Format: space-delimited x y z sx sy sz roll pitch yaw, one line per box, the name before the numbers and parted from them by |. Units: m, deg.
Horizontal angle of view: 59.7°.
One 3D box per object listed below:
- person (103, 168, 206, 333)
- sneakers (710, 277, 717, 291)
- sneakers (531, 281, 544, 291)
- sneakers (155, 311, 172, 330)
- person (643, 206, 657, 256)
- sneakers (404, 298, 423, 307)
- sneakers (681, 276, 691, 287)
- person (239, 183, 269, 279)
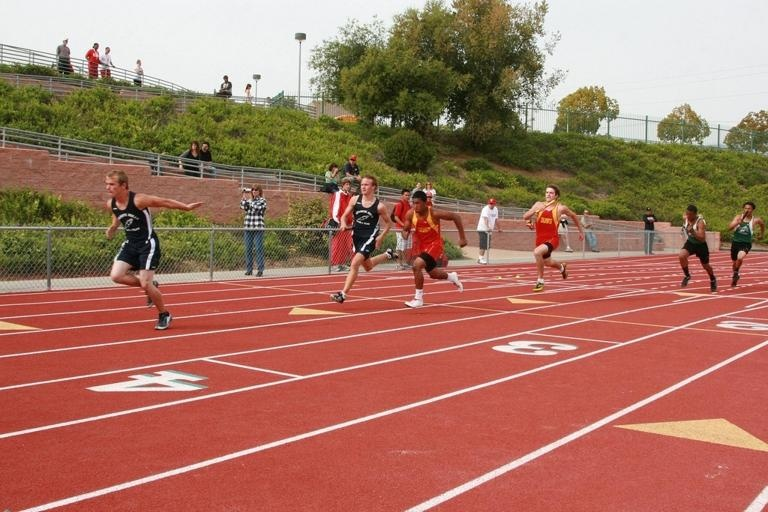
person | -3.665 -0.077 10.018 1.157 2.376 0.906 5 7 33
sneakers | 8.259 0.689 16.795 0.135 0.327 0.111 -4 12 2
sneakers | 3.472 0.656 14.833 0.165 0.172 0.421 -6 1 40
sneakers | -3.359 0.970 10.225 0.163 0.200 0.449 0 5 4
person | 13.631 -1.290 34.279 0.508 2.321 1.232 3 7 23
sneakers | 0.615 0.865 12.620 0.141 0.136 0.334 -5 -7 38
sneakers | 8.032 0.655 17.788 0.142 0.175 0.432 -4 24 47
person | -3.514 -0.729 18.086 0.612 2.379 1.145 -1 6 -12
